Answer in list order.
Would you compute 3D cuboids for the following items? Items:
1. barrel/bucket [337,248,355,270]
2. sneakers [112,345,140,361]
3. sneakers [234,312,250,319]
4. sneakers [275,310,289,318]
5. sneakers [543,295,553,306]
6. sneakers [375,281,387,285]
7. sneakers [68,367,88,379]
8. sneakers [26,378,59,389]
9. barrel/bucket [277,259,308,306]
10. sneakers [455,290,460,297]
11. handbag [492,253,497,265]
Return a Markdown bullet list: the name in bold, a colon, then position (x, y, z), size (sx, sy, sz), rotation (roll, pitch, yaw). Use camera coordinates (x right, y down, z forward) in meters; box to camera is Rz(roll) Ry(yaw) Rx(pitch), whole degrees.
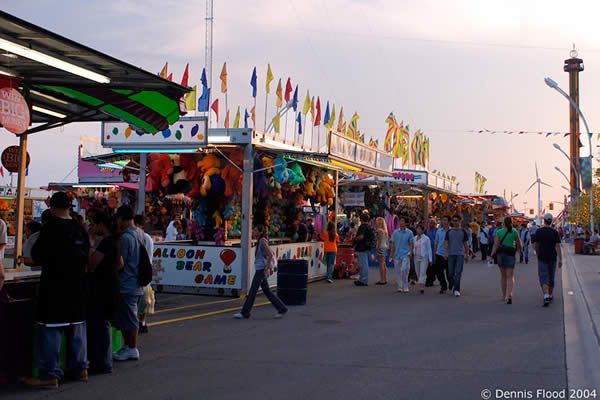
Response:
- **barrel/bucket**: position (1.644, 2.082, 22.758), size (0.625, 0.690, 0.663), rotation (0, -3, 0)
- **sneakers**: position (-2.987, 2.643, 10.999), size (0.452, 0.261, 0.198), rotation (5, -6, 0)
- **sneakers**: position (-1.279, 2.556, 14.233), size (0.351, 0.173, 0.138), rotation (4, 0, 12)
- **sneakers**: position (-0.406, 2.570, 14.329), size (0.336, 0.157, 0.127), rotation (-24, 7, 14)
- **sneakers**: position (6.135, 2.481, 15.804), size (0.143, 0.209, 0.455), rotation (1, 3, 18)
- **sneakers**: position (2.631, 2.692, 20.617), size (0.360, 0.150, 0.138), rotation (3, -2, 4)
- **sneakers**: position (-3.455, 2.742, 10.003), size (0.130, 0.159, 0.336), rotation (3, 0, -33)
- **sneakers**: position (-3.918, 2.777, 9.762), size (0.412, 0.212, 0.190), rotation (6, -5, 7)
- **barrel/bucket**: position (-0.122, 2.107, 16.145), size (0.915, 1.213, 0.898), rotation (1, -6, 0)
- **sneakers**: position (4.333, 2.571, 17.621), size (0.074, 0.109, 0.241), rotation (1, 8, 15)
- **handbag**: position (5.079, 1.531, 16.716), size (0.206, 0.241, 0.401), rotation (-8, -24, 14)
